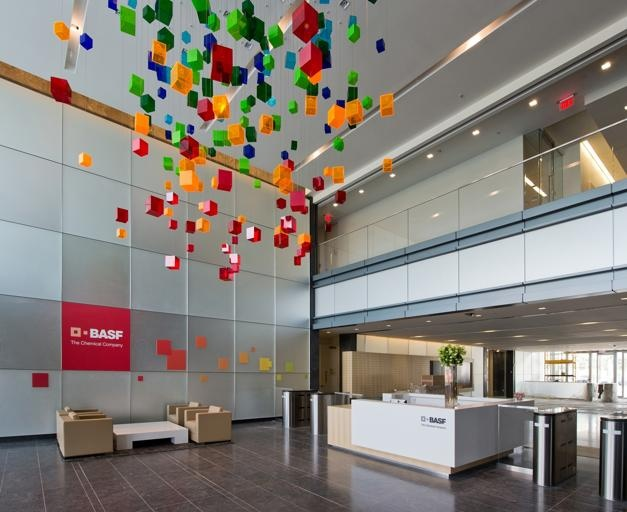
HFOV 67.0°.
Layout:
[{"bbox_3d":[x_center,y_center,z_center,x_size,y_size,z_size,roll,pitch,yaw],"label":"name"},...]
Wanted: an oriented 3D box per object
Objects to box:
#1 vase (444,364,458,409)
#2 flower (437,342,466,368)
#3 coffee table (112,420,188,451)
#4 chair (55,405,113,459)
[{"bbox_3d":[2.890,2.782,10.040,0.180,0.822,0.248,5,-11,-17],"label":"vase"},{"bbox_3d":[3.017,2.247,10.457,0.528,0.496,0.712,-1,-2,15],"label":"flower"},{"bbox_3d":[-3.729,4.092,11.044,1.633,0.544,1.788,1,-3,-21],"label":"coffee table"},{"bbox_3d":[-4.733,3.639,9.851,0.889,0.800,1.261,1,-2,-35],"label":"chair"}]
